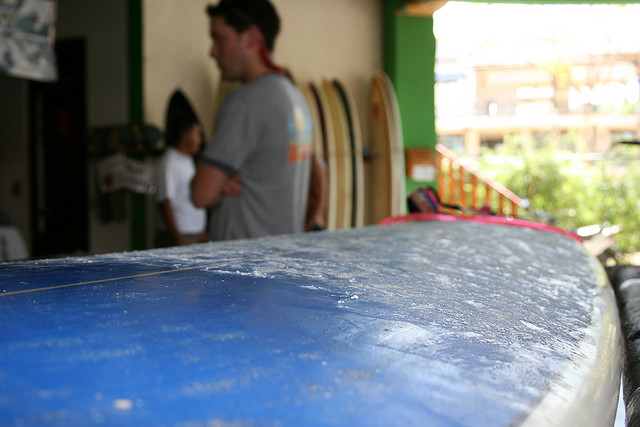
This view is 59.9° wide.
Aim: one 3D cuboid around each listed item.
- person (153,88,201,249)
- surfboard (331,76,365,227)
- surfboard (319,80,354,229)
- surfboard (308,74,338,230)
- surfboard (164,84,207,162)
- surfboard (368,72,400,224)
[{"bbox_3d":[-0.632,-0.229,2.459,0.178,0.808,0.263,-6,30,-17],"label":"person"},{"bbox_3d":[0.190,-0.332,3.256,0.142,1.044,0.095,-2,0,-40],"label":"surfboard"},{"bbox_3d":[0.109,-0.308,3.032,0.143,0.895,0.114,-3,-3,-37],"label":"surfboard"},{"bbox_3d":[0.021,-0.318,2.905,0.096,0.951,0.120,-8,-9,43],"label":"surfboard"},{"bbox_3d":[-0.588,-0.412,2.421,0.156,0.273,0.051,-2,8,-21],"label":"surfboard"},{"bbox_3d":[0.419,-0.385,3.742,0.059,1.051,0.211,-6,2,-39],"label":"surfboard"}]
